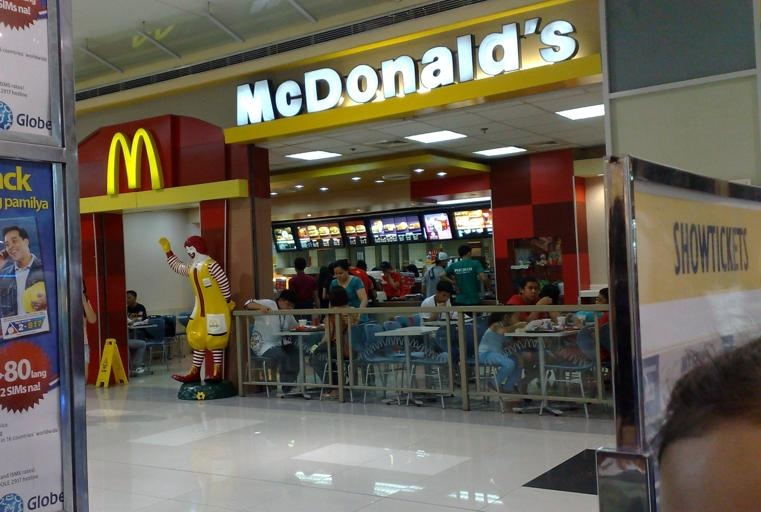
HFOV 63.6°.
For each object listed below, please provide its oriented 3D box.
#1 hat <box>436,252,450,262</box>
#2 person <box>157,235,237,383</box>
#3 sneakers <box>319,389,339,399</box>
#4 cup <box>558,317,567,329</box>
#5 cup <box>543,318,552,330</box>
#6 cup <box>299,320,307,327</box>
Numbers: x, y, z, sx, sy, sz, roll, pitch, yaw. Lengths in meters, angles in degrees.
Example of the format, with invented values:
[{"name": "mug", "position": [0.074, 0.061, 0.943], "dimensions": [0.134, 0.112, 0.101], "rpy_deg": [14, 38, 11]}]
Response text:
[{"name": "hat", "position": [1.217, 0.033, 12.264], "dimensions": [0.183, 0.136, 0.248], "rpy_deg": [4, 11, 33]}, {"name": "person", "position": [-2.523, 0.704, 8.413], "dimensions": [0.958, 2.061, 0.633], "rpy_deg": [-6, -10, 9]}, {"name": "sneakers", "position": [-0.650, 1.766, 7.863], "dimensions": [0.251, 0.113, 0.086], "rpy_deg": [3, -6, 19]}, {"name": "cup", "position": [1.823, 0.679, 6.272], "dimensions": [0.083, 0.119, 0.036], "rpy_deg": [-3, -1, 10]}, {"name": "cup", "position": [1.703, 0.704, 6.327], "dimensions": [0.070, 0.098, 0.030], "rpy_deg": [-3, -1, 12]}, {"name": "cup", "position": [-0.996, 0.857, 7.867], "dimensions": [0.107, 0.073, 0.068], "rpy_deg": [5, -12, -21]}]
